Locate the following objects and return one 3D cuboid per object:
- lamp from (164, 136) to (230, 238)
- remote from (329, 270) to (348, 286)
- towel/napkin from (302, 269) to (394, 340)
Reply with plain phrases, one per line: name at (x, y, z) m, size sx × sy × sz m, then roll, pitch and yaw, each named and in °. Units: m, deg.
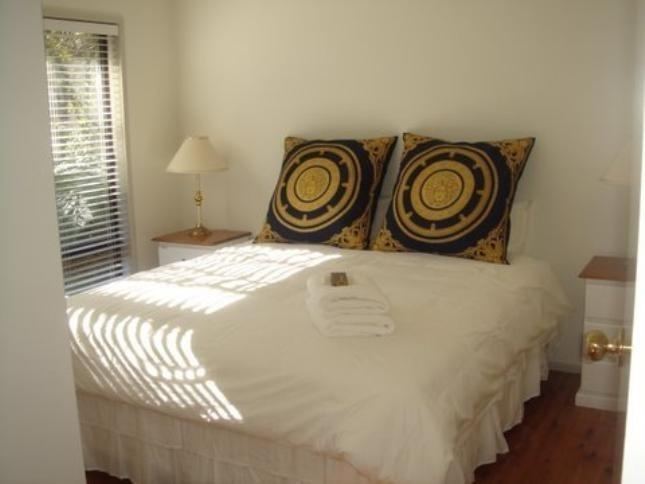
lamp at (-0.930, -0.429, 3.828) m, size 0.410 × 0.712 × 0.491 m, roll 0°, pitch 12°, yaw -12°
remote at (0.064, 0.153, 2.106) m, size 0.053 × 0.014 × 0.056 m, roll -2°, pitch 35°, yaw -1°
towel/napkin at (0.089, 0.223, 1.984) m, size 0.301 × 0.136 × 0.468 m, roll -1°, pitch 12°, yaw -16°
